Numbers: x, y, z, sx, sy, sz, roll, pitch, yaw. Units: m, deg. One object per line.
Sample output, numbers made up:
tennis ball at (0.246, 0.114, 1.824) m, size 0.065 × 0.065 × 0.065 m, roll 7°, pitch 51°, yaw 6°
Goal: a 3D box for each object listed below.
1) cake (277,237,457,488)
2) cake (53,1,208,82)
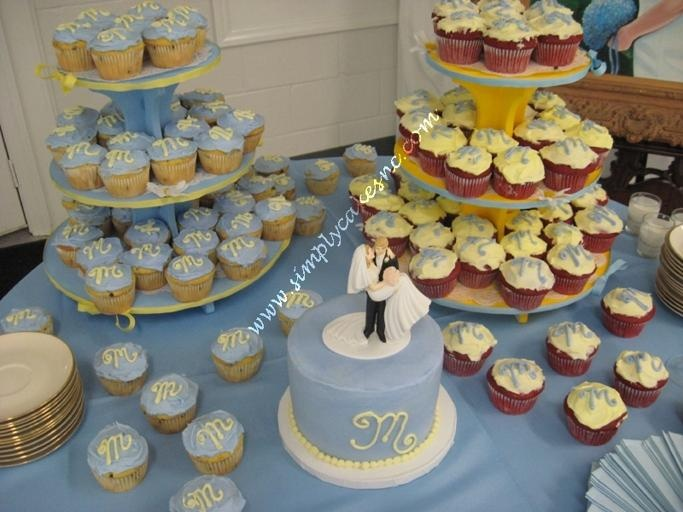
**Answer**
cake at (0.121, 0.455, 2.371) m, size 0.711 × 0.759 × 0.675 m, roll -3°, pitch 39°, yaw -2°
cake at (-0.934, -0.975, 2.719) m, size 0.597 × 0.198 × 0.403 m, roll -9°, pitch 40°, yaw -15°
